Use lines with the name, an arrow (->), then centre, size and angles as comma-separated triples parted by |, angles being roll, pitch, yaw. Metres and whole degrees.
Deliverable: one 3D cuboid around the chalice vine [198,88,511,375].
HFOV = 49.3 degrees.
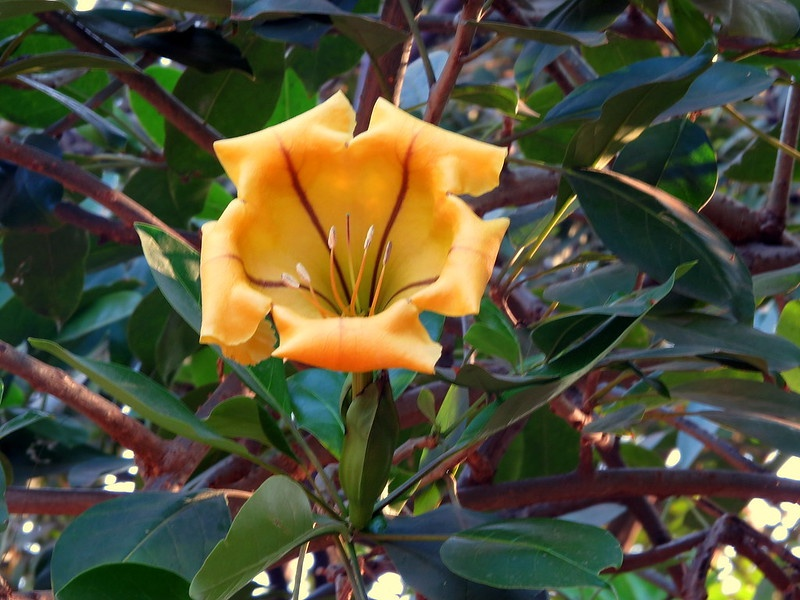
chalice vine -> -0.083, -0.114, 1.552 | 0.543, 0.448, 0.392 | 6, -61, -7
